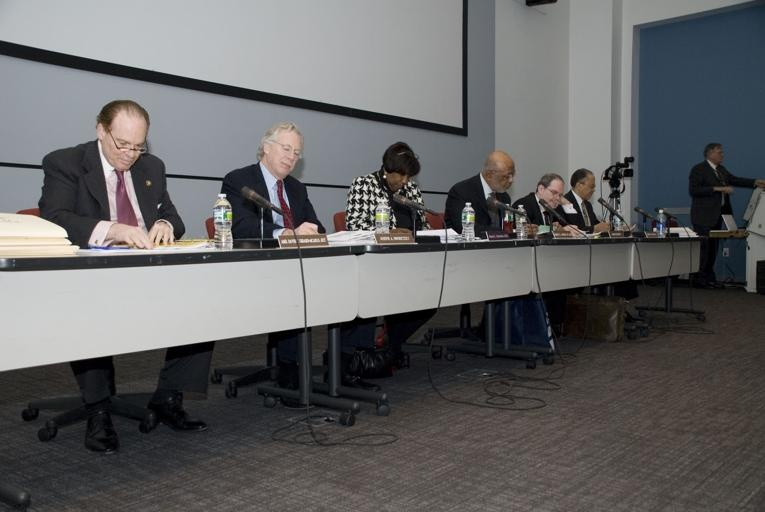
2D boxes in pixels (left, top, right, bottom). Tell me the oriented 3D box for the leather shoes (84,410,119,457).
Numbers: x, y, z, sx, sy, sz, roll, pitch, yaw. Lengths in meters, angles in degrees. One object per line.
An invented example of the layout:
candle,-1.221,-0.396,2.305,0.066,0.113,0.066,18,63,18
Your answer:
leather shoes,-1.195,0.752,2.311,0.100,0.103,0.242,2,4,-32

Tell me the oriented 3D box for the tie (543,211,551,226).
tie,1.310,-0.282,4.322,0.047,0.135,0.208,0,-4,27

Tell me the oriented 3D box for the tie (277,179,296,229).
tie,-0.533,-0.273,2.965,0.046,0.337,0.040,-10,-30,-6

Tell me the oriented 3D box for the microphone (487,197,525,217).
microphone,0.870,-0.345,3.875,0.364,0.078,0.081,27,-5,-31

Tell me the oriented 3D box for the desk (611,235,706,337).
desk,2.333,0.111,4.879,1.154,0.797,0.779,-3,5,-44

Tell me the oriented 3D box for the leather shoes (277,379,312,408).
leather shoes,-0.470,0.687,2.781,0.172,0.058,0.175,1,4,11

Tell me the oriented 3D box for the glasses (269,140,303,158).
glasses,-0.522,-0.573,2.929,0.161,0.101,0.081,-6,6,-18

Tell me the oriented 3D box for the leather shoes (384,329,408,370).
leather shoes,0.041,0.589,3.355,0.078,0.249,0.175,-9,-3,28

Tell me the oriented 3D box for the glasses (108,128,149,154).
glasses,-1.145,-0.510,2.496,0.132,0.105,0.305,-4,6,-5

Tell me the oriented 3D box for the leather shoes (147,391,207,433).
leather shoes,-0.977,0.724,2.612,0.357,0.181,0.130,8,5,29

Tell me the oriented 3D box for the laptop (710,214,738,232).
laptop,4.625,-0.437,7.339,0.290,0.206,0.228,0,2,-37

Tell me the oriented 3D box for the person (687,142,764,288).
person,4.495,-0.558,7.388,0.770,1.940,0.515,-5,6,-16
